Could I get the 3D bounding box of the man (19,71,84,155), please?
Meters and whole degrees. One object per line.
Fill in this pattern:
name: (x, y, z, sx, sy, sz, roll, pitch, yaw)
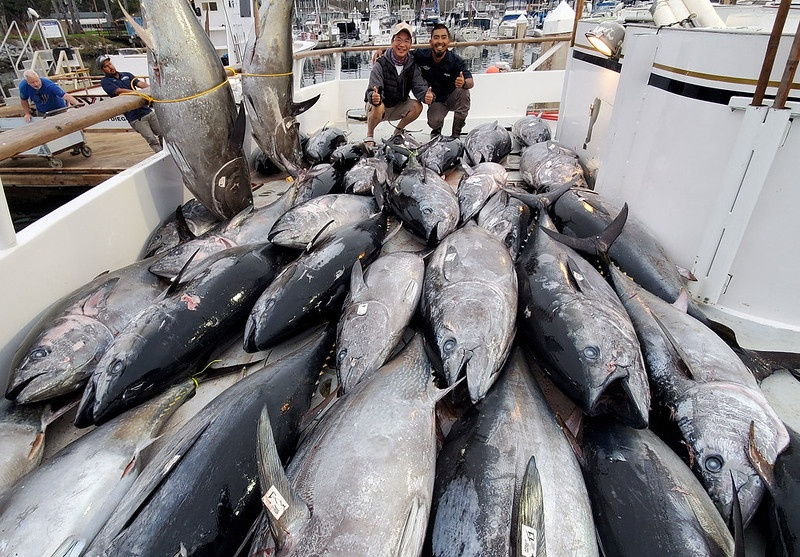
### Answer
man: (-7.605, -3.844, 8.492, 0.984, 0.628, 2.175, -12, -9, -32)
